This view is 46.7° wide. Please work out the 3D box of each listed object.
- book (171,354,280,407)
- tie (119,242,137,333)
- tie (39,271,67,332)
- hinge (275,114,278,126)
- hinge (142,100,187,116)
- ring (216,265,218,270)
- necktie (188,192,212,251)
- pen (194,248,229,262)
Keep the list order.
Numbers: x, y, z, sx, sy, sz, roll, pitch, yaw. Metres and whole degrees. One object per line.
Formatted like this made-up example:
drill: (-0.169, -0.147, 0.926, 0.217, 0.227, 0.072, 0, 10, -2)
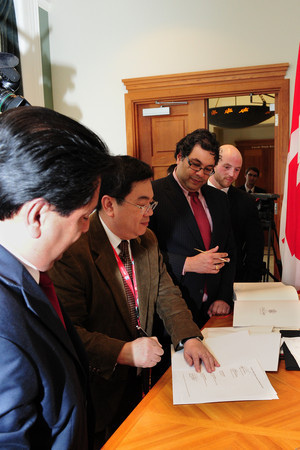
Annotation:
book: (0.214, 0.471, 1.081, 0.302, 0.028, 0.270, -1, 5, 0)
tie: (-0.094, 0.229, 1.366, 0.053, 0.368, 0.039, 1, -30, -15)
tie: (-0.183, 0.175, 0.724, 0.023, 0.197, 0.033, 21, 49, 28)
hinge: (1.438, -1.187, 3.945, 0.016, 0.132, 0.039, -3, 5, -20)
hinge: (0.181, -1.426, 4.227, 0.536, 0.170, 0.052, -1, 5, 6)
ring: (0.336, 0.216, 1.748, 0.013, 0.025, 0.017, -11, -3, 7)
necktie: (0.305, 0.002, 1.990, 0.073, 0.169, 0.707, -27, -32, -3)
pen: (0.310, 0.157, 1.801, 0.160, 0.018, 0.017, 30, -33, -14)
